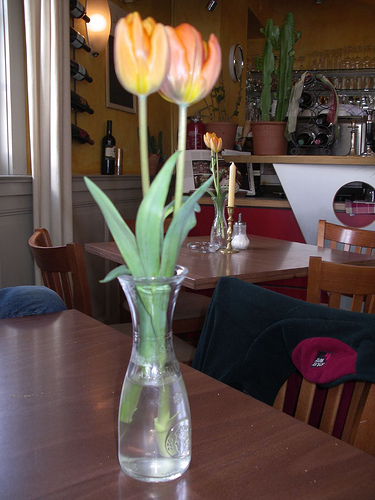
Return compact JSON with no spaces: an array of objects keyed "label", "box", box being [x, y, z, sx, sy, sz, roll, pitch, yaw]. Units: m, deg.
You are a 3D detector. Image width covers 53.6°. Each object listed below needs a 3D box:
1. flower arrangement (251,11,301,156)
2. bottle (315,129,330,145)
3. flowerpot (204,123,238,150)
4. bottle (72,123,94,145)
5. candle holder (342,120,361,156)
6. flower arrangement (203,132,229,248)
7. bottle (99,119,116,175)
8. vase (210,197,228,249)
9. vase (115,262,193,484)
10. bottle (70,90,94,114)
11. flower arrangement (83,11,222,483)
[{"label":"flower arrangement","box":[0.756,-1.370,3.122,0.315,1.132,0.317,-2,12,8]},{"label":"bottle","box":[1.123,-0.937,3.099,0.105,0.113,0.283,5,22,23]},{"label":"flowerpot","box":[0.301,-1.019,3.358,0.258,0.213,0.273,2,15,5]},{"label":"bottle","box":[-0.819,-0.875,2.827,0.077,0.108,0.248,3,5,17]},{"label":"candle holder","box":[1.379,-0.915,3.088,0.087,0.263,0.206,3,5,22]},{"label":"flower arrangement","box":[0.128,-0.211,1.648,0.123,0.582,0.137,-1,14,-10]},{"label":"bottle","box":[-0.699,-0.861,3.164,0.123,0.446,0.121,1,5,0]},{"label":"vase","box":[0.150,-0.129,1.770,0.076,0.226,0.096,5,16,8]},{"label":"vase","box":[-0.024,0.105,0.314,0.072,0.183,0.074,0,5,-9]},{"label":"bottle","box":[-0.813,-1.092,2.755,0.060,0.121,0.319,8,7,9]},{"label":"flower arrangement","box":[-0.022,0.017,0.297,0.091,0.352,0.102,6,11,33]}]
